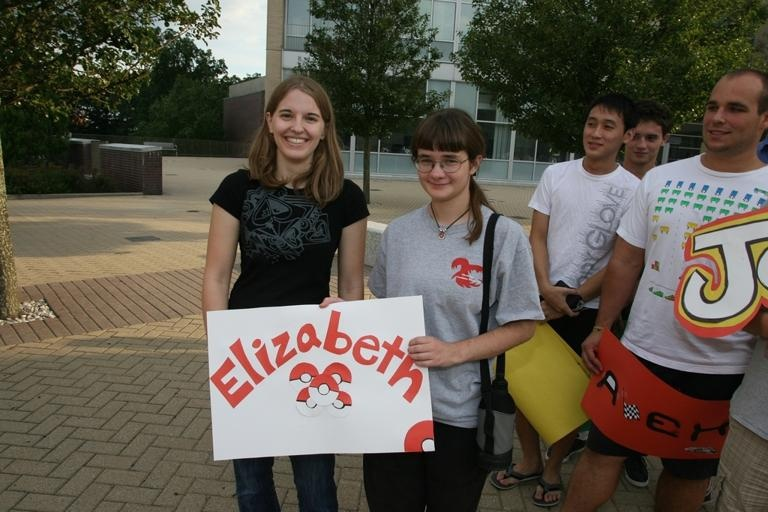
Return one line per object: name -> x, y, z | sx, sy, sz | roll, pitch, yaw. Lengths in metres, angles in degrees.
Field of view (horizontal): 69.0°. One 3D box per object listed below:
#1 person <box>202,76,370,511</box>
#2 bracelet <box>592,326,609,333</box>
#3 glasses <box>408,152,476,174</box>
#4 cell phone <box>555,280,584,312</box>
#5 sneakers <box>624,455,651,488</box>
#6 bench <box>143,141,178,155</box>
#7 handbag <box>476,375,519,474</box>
person -> -0.566, 0.253, 3.217 | 0.928, 2.515, 0.761 | 0, 14, -1
bracelet -> 1.403, 0.468, 3.613 | 0.052, 0.023, 0.062 | -1, 2, 8
glasses -> 0.292, -0.510, 3.043 | 0.328, 0.115, 0.128 | 7, 15, 24
cell phone -> 1.360, 0.268, 4.072 | 0.212, 0.074, 0.152 | 46, 7, 37
sneakers -> 1.981, 1.681, 4.421 | 0.137, 0.140, 0.369 | 0, 0, 1
bench -> -20.251, -9.962, 51.472 | 2.327, 0.982, 7.270 | -5, 15, -20
handbag -> 0.586, 0.875, 2.935 | 0.183, 0.452, 0.236 | 4, 14, 14
